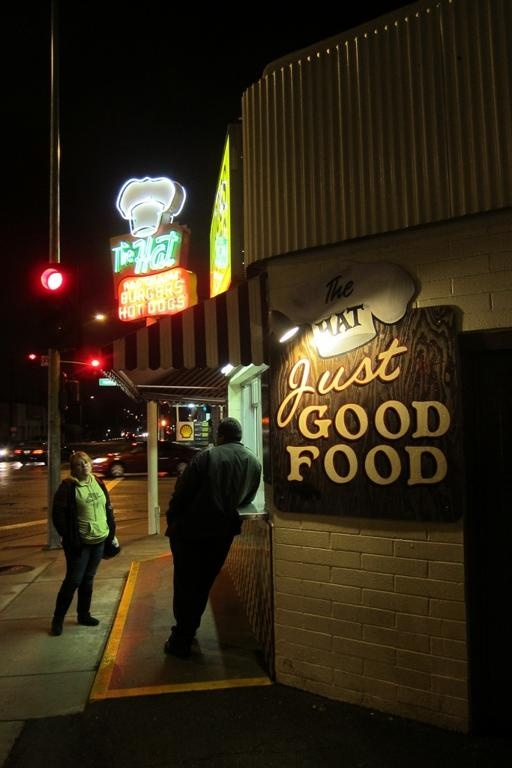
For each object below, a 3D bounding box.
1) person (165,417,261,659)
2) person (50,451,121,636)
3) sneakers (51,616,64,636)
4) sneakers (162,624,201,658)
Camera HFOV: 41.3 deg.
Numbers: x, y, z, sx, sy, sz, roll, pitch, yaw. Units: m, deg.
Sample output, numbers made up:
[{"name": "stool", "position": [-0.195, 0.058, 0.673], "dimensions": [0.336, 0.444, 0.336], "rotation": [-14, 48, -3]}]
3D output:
[{"name": "person", "position": [-0.328, 1.217, 4.954], "dimensions": [0.708, 1.528, 0.382], "rotation": [-2, -3, -8]}, {"name": "person", "position": [-1.480, 1.303, 5.663], "dimensions": [0.475, 1.452, 0.758], "rotation": [-2, -3, 7]}, {"name": "sneakers", "position": [-1.617, 1.951, 5.472], "dimensions": [0.087, 0.122, 0.141], "rotation": [-1, -3, -13]}, {"name": "sneakers", "position": [-0.556, 1.919, 5.084], "dimensions": [0.131, 0.175, 0.374], "rotation": [5, -6, -12]}]
